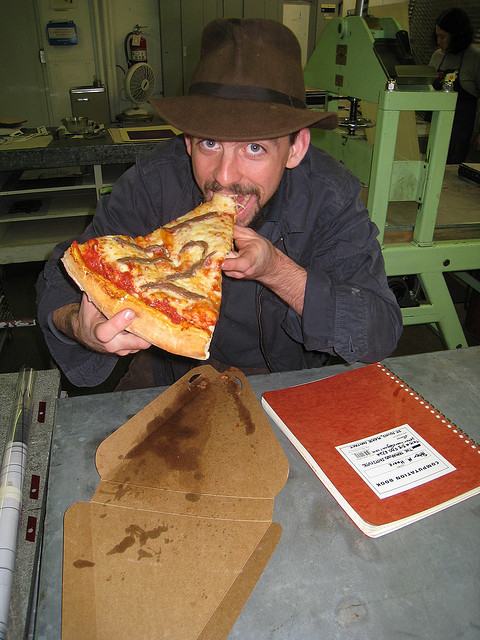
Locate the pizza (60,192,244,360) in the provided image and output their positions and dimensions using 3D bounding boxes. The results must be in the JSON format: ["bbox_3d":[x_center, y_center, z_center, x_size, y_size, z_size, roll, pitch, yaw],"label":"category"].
[{"bbox_3d":[-0.244,-0.139,1.315,0.427,0.228,0.528,3,29,3],"label":"pizza"}]

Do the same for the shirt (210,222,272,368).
[{"bbox_3d":[0.014,-0.077,1.993,0.315,0.514,0.123,8,7,4],"label":"shirt"}]

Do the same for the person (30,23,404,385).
[{"bbox_3d":[0.006,-0.347,1.542,1.024,0.408,1.200,16,61,20],"label":"person"}]

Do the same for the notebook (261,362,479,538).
[{"bbox_3d":[0.344,0.292,1.282,0.402,0.059,0.512,-11,31,-20],"label":"notebook"}]

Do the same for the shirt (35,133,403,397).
[{"bbox_3d":[-0.002,-0.235,2.302,1.653,1.016,1.490,-4,27,-14],"label":"shirt"}]
